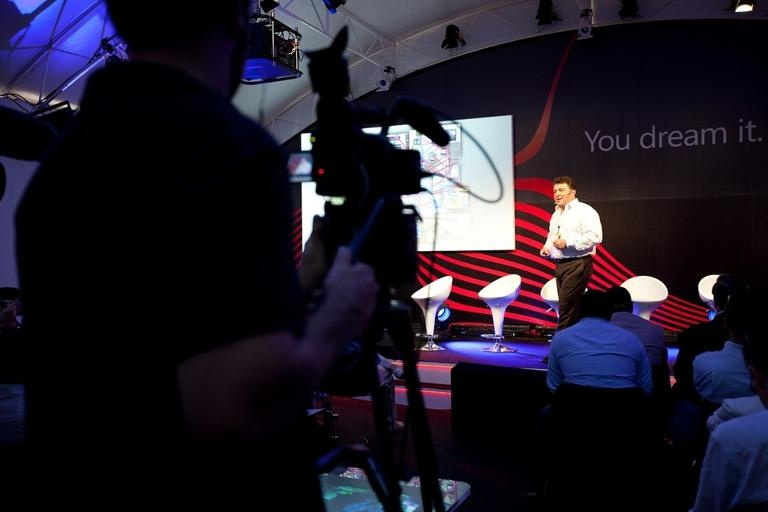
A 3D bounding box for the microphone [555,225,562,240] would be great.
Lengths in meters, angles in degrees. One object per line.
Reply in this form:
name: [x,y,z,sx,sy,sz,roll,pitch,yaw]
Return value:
microphone: [1.627,-0.212,5.440,0.034,0.107,0.078,5,-4,-16]
